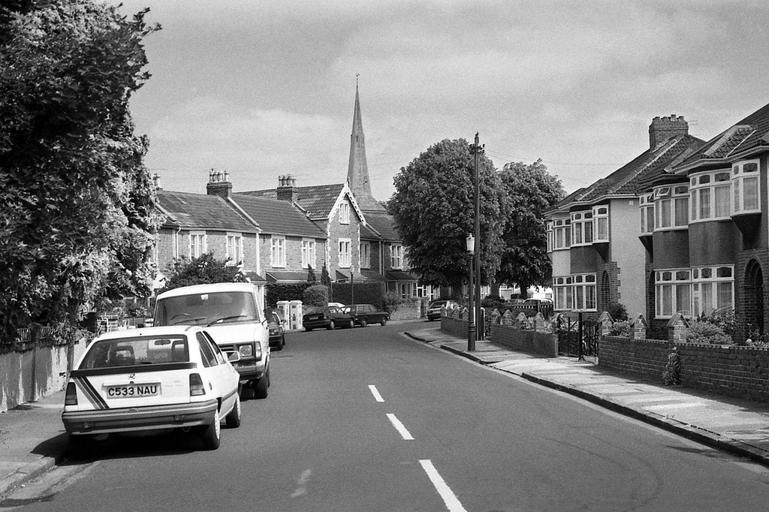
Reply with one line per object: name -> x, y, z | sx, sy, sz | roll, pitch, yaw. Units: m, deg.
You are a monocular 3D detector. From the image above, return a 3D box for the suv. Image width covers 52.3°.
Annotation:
suv -> -4.271, 1.799, 19.885 | 2.127, 1.989, 3.664 | -2, -8, 3

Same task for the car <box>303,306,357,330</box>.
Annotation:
car -> -3.997, 4.450, 56.971 | 2.018, 1.835, 4.728 | -4, -5, 32

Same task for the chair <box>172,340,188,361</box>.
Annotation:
chair -> -3.894, 1.816, 14.901 | 0.292, 0.458, 0.243 | -3, -9, 4

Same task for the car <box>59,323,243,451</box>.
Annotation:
car -> -4.558, 2.564, 15.390 | 2.757, 2.361, 2.097 | -1, -4, -3
